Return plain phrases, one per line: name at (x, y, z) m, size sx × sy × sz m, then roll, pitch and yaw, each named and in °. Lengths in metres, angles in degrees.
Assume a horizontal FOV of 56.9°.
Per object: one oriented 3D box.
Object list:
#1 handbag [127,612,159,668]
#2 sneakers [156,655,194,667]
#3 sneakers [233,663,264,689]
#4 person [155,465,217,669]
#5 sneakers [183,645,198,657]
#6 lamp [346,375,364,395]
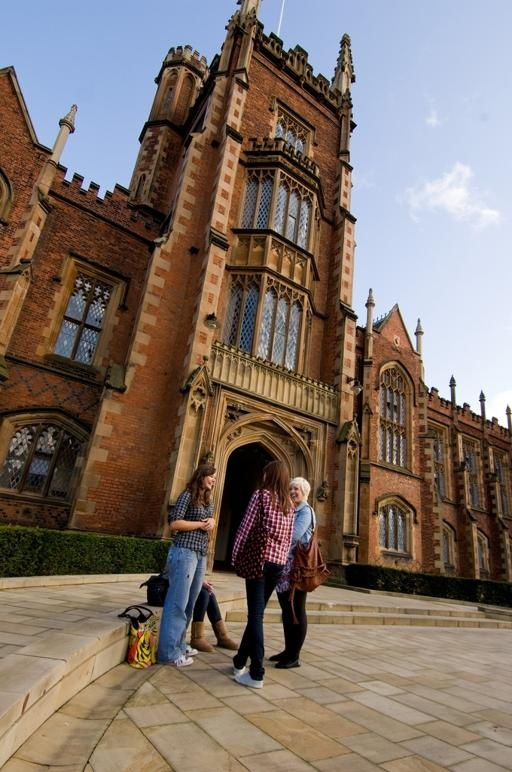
handbag at (-0.848, 1.875, 3.544) m, size 0.231 × 0.322 × 0.328 m, roll 11°, pitch -18°, yaw -8°
sneakers at (-0.609, 1.994, 3.503) m, size 0.236 × 0.105 × 0.089 m, roll 2°, pitch -16°, yaw -6°
sneakers at (-0.058, 1.917, 3.163) m, size 0.094 × 0.112 × 0.246 m, roll 13°, pitch -11°, yaw -31°
person at (-0.551, 1.325, 3.650) m, size 0.396 × 1.461 × 0.324 m, roll 16°, pitch -19°, yaw -24°
sneakers at (-0.526, 2.105, 3.782) m, size 0.059 × 0.071 × 0.164 m, roll 0°, pitch -11°, yaw 14°
lamp at (3.133, -0.071, 14.908) m, size 0.480 × 0.550 × 0.525 m, roll -6°, pitch -22°, yaw 38°
